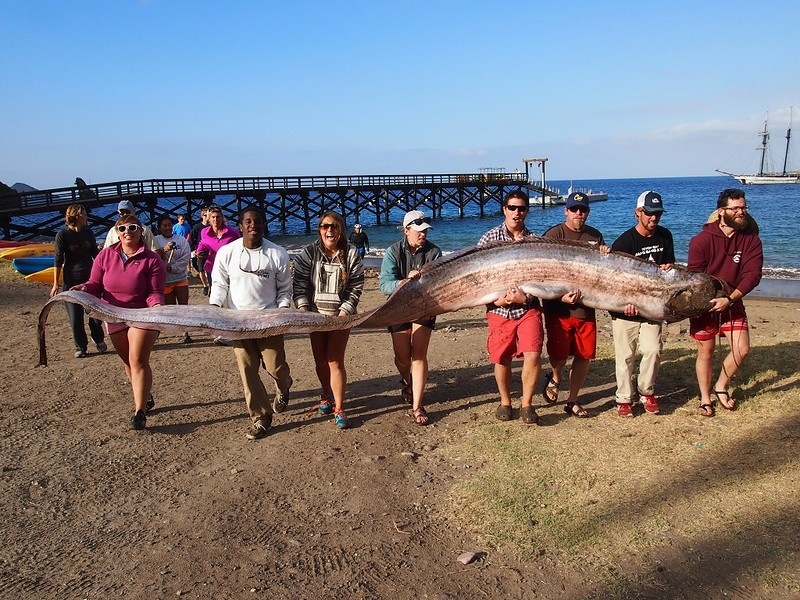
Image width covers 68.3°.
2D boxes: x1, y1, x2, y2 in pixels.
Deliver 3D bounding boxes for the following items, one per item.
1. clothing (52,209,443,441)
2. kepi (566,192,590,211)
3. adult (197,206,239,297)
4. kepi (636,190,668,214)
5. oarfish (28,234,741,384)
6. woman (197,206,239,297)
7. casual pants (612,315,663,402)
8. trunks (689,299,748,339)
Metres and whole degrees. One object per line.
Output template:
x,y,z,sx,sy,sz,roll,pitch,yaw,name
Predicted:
-0.739,-0.001,7.189,5.255,3.085,1.574,-3,18,-4,clothing
1.835,-0.980,6.052,0.175,0.230,0.228,1,32,8,kepi
-2.985,-0.654,9.671,0.688,1.695,0.559,0,28,-20,adult
2.513,-0.982,5.957,0.214,0.193,0.334,2,18,-6,kepi
-0.258,0.121,5.940,5.952,1.062,0.984,-1,0,-27,oarfish
-2.986,-0.638,9.678,0.702,1.735,0.574,-1,28,-21,woman
2.491,0.585,6.200,0.448,0.421,1.083,2,52,15,casual pants
3.298,0.241,6.100,0.492,0.373,0.398,-18,-5,14,trunks
